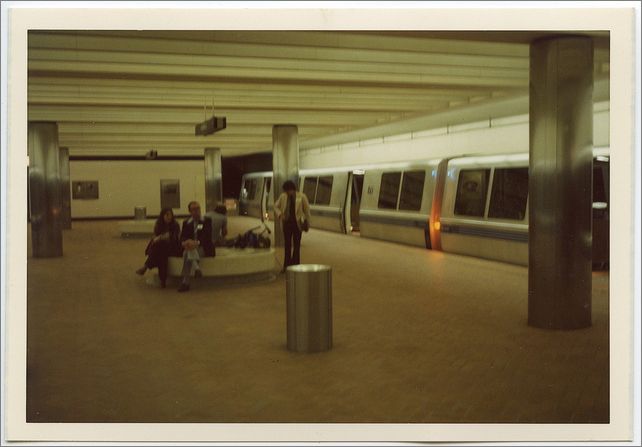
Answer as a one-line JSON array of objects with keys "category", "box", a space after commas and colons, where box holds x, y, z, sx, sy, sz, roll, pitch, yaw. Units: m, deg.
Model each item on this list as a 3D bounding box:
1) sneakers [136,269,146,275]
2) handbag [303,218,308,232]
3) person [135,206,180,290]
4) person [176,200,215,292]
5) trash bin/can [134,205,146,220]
[{"category": "sneakers", "box": [-3.815, 1.020, 10.199, 0.128, 0.145, 0.348, 3, 8, -16]}, {"category": "handbag", "box": [-0.312, 0.052, 10.158, 0.049, 0.207, 0.136, 4, 6, -18]}, {"category": "person", "box": [-3.371, 0.486, 9.962, 0.871, 1.594, 0.790, -4, 9, -22]}, {"category": "person", "box": [-2.532, 0.439, 9.691, 0.721, 1.718, 0.596, -3, 8, -12]}, {"category": "trash bin/can", "box": [-7.649, -0.432, 20.339, 0.467, 0.510, 0.504, -3, 17, -18]}]
